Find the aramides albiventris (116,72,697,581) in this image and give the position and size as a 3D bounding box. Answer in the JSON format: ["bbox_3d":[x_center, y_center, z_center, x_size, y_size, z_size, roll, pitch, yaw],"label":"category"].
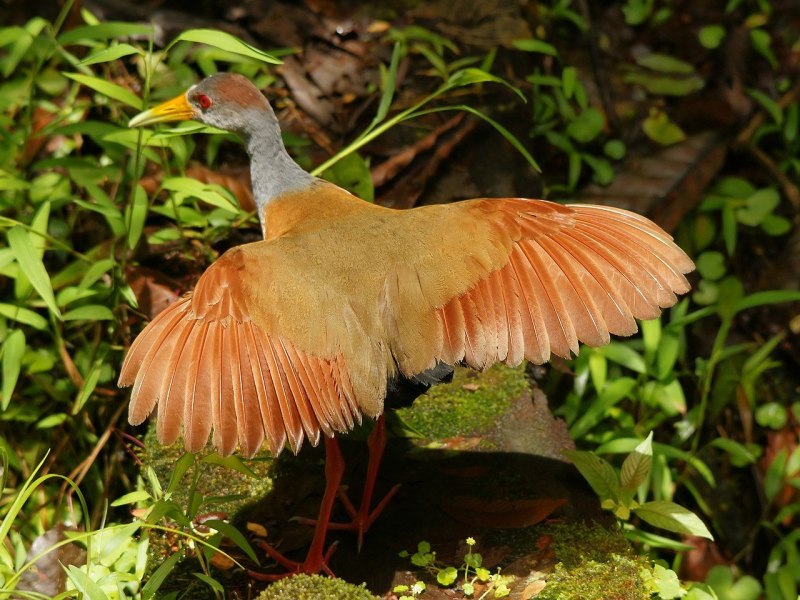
[{"bbox_3d":[0.015,0.136,5.412,2.690,1.001,2.079,13,41,9],"label":"aramides albiventris"}]
